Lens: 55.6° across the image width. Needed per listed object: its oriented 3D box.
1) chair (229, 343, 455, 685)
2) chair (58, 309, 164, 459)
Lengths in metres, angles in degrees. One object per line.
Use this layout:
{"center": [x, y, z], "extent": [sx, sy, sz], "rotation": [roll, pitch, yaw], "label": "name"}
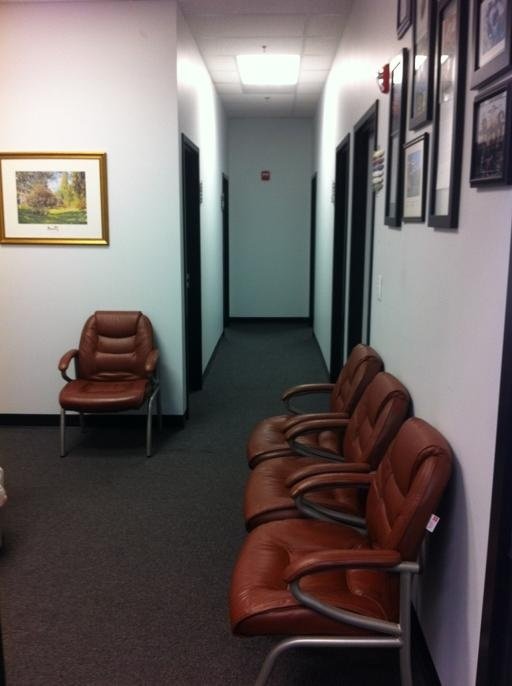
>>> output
{"center": [0.270, 0.542, 1.797], "extent": [0.659, 0.691, 1.281], "rotation": [-1, 9, 4], "label": "chair"}
{"center": [-1.075, 0.282, 3.847], "extent": [0.647, 1.343, 0.948], "rotation": [0, 6, -4], "label": "chair"}
